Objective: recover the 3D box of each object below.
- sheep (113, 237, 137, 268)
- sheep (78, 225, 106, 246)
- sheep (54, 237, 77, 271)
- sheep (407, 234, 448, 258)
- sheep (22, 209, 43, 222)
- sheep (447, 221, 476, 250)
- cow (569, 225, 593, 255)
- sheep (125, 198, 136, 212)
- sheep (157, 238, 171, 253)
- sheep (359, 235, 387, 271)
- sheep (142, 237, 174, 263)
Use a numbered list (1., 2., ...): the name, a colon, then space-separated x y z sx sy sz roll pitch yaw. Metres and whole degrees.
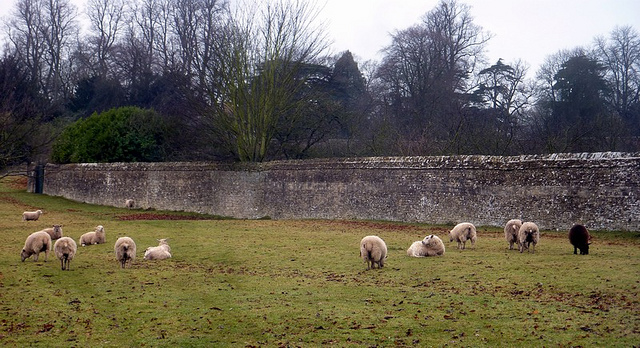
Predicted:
1. sheep: -14.805 5.934 59.047 1.546 2.276 1.158 2 -5 -15
2. sheep: -18.307 5.182 62.651 2.744 1.283 1.423 -11 -13 33
3. sheep: -19.092 5.928 57.943 1.442 2.435 0.730 2 -5 -17
4. sheep: 8.279 5.645 60.274 2.702 1.155 1.560 1 -1 18
5. sheep: -25.876 3.765 69.453 1.404 0.968 1.511 2 -4 -18
6. sheep: 11.467 4.895 61.993 1.808 2.029 1.347 2 -4 -12
7. cow: 20.079 5.064 59.838 1.375 2.241 0.499 0 -5 14
8. sheep: -20.191 3.150 82.457 0.887 1.017 0.902 0 -4 12
9. sheep: -12.204 5.493 60.606 0.594 1.236 0.875 -8 -38 -22
10. sheep: 3.969 5.941 58.356 1.848 2.503 0.719 1 -4 3
11. sheep: -12.749 5.919 60.342 1.093 1.187 2.630 28 23 33
